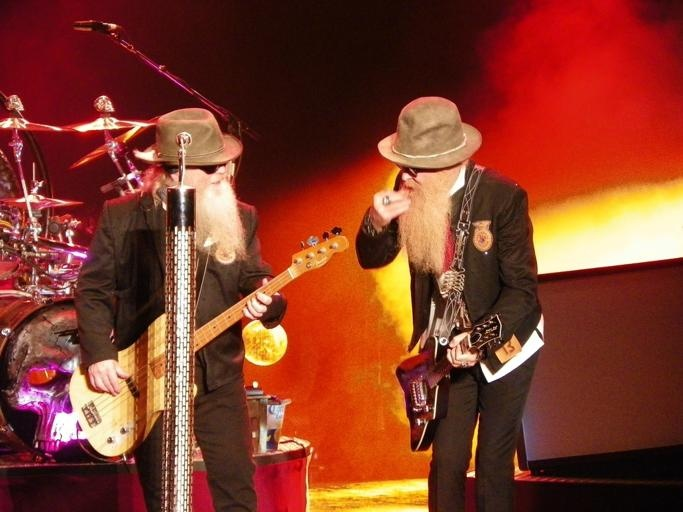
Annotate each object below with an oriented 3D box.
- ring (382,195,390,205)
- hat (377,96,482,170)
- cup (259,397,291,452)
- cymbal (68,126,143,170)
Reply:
[{"bbox_3d":[0.244,-0.311,3.646,0.040,0.054,0.008,-6,-12,7],"label":"ring"},{"bbox_3d":[0.492,-0.739,3.750,0.609,0.287,0.646,-20,31,-23],"label":"hat"},{"bbox_3d":[-0.544,1.269,4.872,0.268,0.358,0.311,3,-2,-8],"label":"cup"},{"bbox_3d":[-2.140,-1.051,6.051,0.667,0.179,0.665,-14,4,-15],"label":"cymbal"}]
